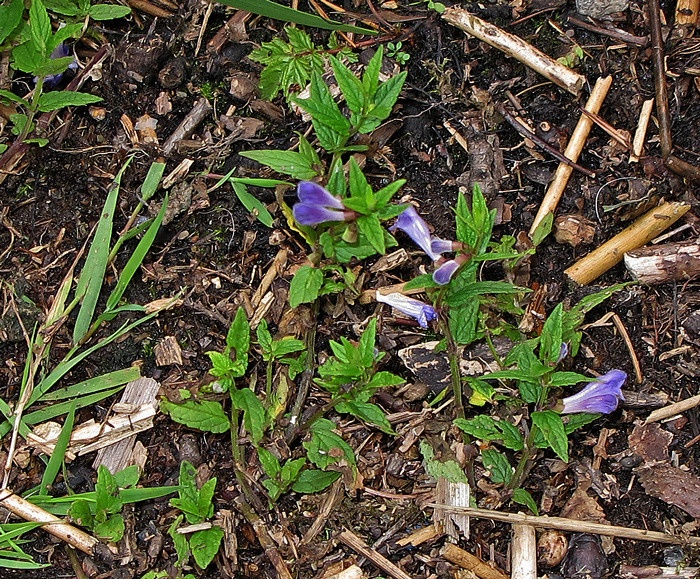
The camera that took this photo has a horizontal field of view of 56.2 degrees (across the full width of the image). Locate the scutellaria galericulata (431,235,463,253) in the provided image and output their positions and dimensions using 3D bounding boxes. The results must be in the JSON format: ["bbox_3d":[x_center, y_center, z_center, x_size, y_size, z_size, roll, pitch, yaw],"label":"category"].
[{"bbox_3d":[0.346,-0.153,2.264,0.123,0.048,0.044,0,110,-10],"label":"scutellaria galericulata"}]

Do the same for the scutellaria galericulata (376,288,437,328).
[{"bbox_3d":[0.248,0.071,2.749,0.233,0.094,0.121,11,81,19],"label":"scutellaria galericulata"}]

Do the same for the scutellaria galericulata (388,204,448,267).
[{"bbox_3d":[0.240,-0.198,2.307,0.139,0.068,0.230,-44,92,8],"label":"scutellaria galericulata"}]

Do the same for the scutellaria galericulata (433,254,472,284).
[{"bbox_3d":[0.358,-0.069,2.279,0.114,0.050,0.037,-41,83,18],"label":"scutellaria galericulata"}]

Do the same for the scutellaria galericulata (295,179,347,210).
[{"bbox_3d":[-0.094,-0.322,2.171,0.137,0.192,0.109,-6,70,1],"label":"scutellaria galericulata"}]

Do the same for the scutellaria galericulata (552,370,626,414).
[{"bbox_3d":[0.907,0.412,2.517,0.322,0.164,0.118,-1,88,-15],"label":"scutellaria galericulata"}]
